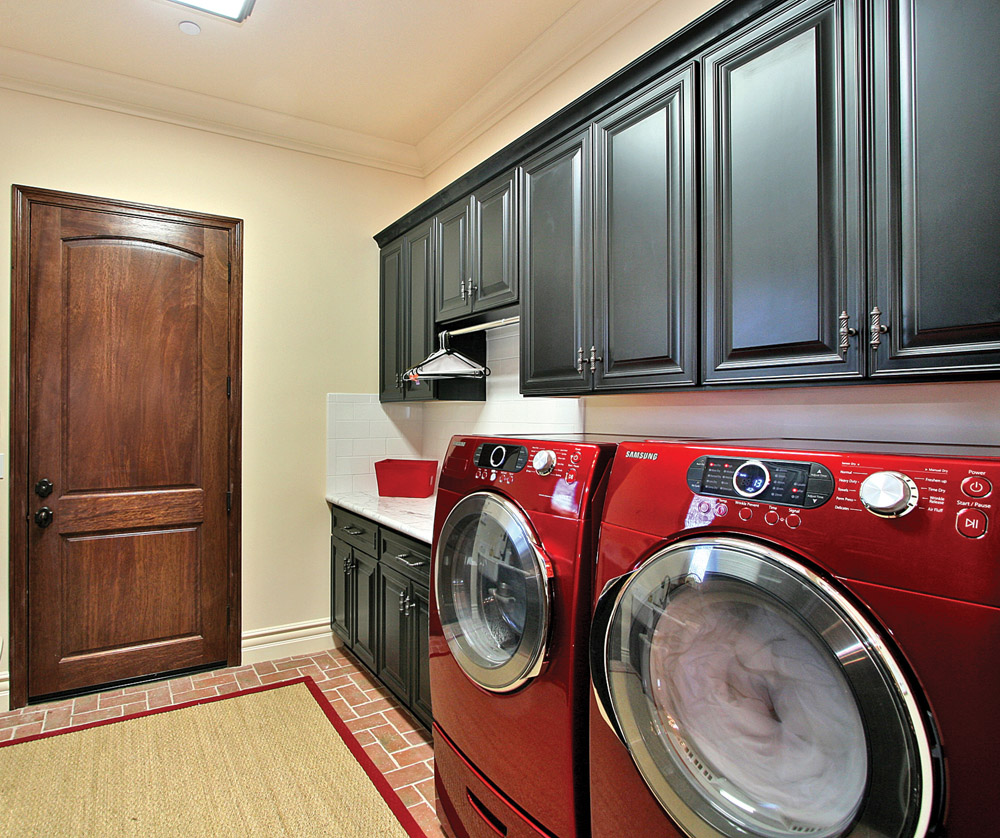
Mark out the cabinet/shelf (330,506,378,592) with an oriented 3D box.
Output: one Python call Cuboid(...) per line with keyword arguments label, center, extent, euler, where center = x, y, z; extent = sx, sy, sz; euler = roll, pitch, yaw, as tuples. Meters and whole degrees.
Cuboid(label="cabinet/shelf", center=(-0.727, 0.639, 3.420), extent=(0.229, 0.355, 0.338), euler=(5, -7, -35))
